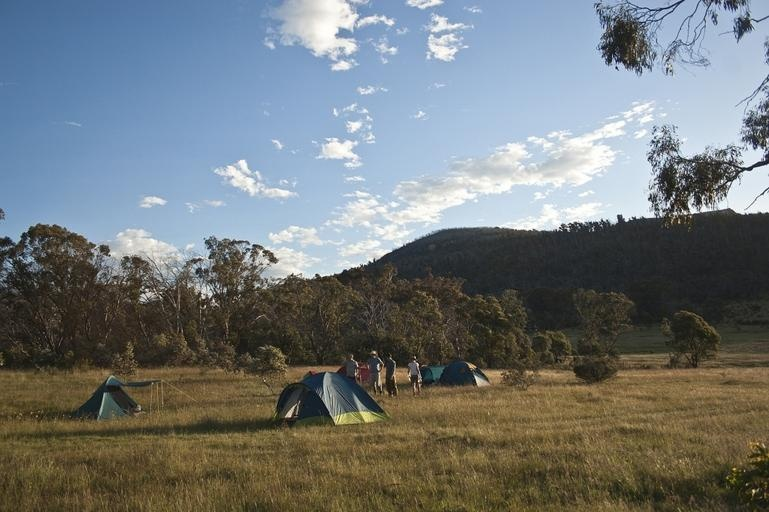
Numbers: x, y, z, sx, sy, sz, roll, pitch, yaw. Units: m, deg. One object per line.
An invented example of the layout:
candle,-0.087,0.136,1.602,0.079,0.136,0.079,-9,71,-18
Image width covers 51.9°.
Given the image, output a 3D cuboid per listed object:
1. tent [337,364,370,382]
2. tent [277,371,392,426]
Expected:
tent,-2.343,10.122,67.387,1.944,1.335,2.042,-4,-5,30
tent,-3.895,9.880,54.691,6.953,3.162,1.980,-1,13,2
